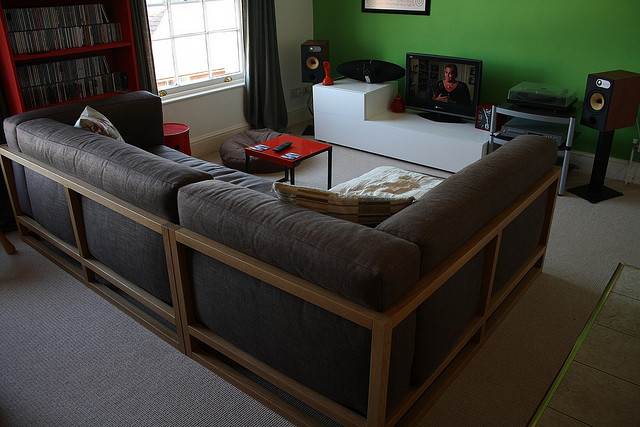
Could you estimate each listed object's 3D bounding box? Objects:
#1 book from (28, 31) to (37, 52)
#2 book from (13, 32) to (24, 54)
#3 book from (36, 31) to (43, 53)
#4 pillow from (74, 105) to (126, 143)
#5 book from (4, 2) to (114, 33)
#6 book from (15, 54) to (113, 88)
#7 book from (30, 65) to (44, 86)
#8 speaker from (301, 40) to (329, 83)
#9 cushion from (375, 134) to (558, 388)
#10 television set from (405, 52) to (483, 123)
[{"bbox_3d":[-2.484,-1.464,3.796,0.050,0.157,0.024,-24,33,-39],"label":"book"},{"bbox_3d":[-2.554,-1.432,3.736,0.046,0.157,0.020,-24,33,-39],"label":"book"},{"bbox_3d":[-2.437,-1.484,3.832,0.024,0.160,0.030,-14,28,-24],"label":"book"},{"bbox_3d":[-1.630,-0.663,3.332,0.348,0.099,0.290,17,21,6],"label":"pillow"},{"bbox_3d":[-2.316,-1.729,3.921,0.073,0.189,0.837,20,33,38],"label":"book"},{"bbox_3d":[-2.394,-1.353,4.086,0.777,0.258,0.125,-22,67,-32],"label":"book"},{"bbox_3d":[-2.510,-1.219,3.909,0.069,0.164,0.036,-17,29,-29],"label":"book"},{"bbox_3d":[-0.075,-1.961,5.754,0.328,0.486,0.304,1,25,3],"label":"speaker"},{"bbox_3d":[0.884,0.321,2.539,0.493,0.755,1.399,22,39,34],"label":"cushion"},{"bbox_3d":[1.427,-1.431,5.010,0.769,0.554,0.236,22,44,32],"label":"television set"}]
